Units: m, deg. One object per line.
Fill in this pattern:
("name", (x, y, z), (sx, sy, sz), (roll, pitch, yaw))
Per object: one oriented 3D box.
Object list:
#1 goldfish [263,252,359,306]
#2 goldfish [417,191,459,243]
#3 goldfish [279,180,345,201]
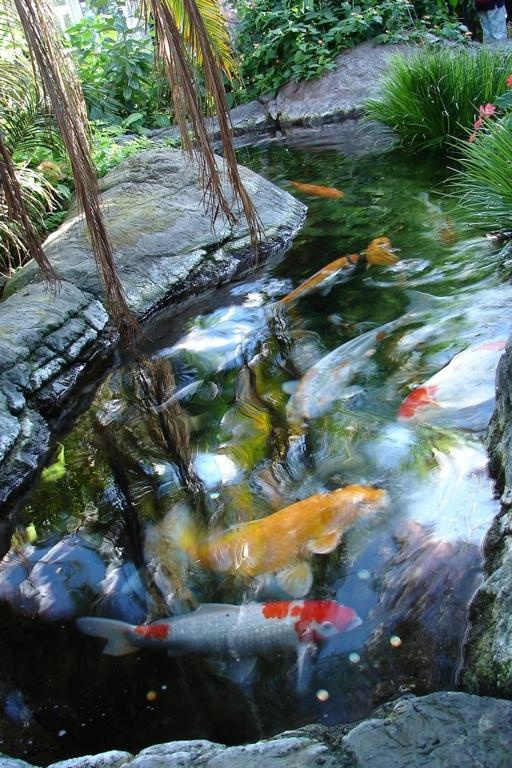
("goldfish", (0.419, -0.703, 4.071), (0.861, 0.084, 0.185), (-33, 26, -32))
("goldfish", (1.336, -1.164, 4.428), (0.305, 0.435, 0.366), (-4, 27, 14))
("goldfish", (0.580, -1.857, 5.865), (0.351, 0.188, 0.789), (-20, 22, -2))
